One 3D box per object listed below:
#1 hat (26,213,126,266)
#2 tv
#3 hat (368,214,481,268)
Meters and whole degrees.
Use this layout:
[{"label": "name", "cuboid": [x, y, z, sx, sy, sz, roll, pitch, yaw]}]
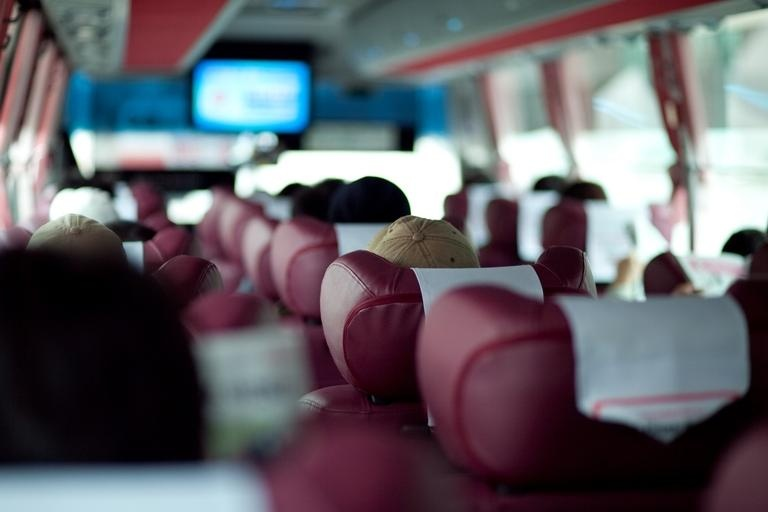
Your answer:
[{"label": "hat", "cuboid": [-0.711, -0.030, 1.695, 0.236, 0.075, 0.243, -1, -6, 32]}, {"label": "tv", "cuboid": [-2.293, -2.791, 12.228, 2.027, 1.284, 0.299, 0, 1, -14]}, {"label": "hat", "cuboid": [0.106, -0.012, 1.739, 0.198, 0.069, 0.141, 6, 32, -15]}]
